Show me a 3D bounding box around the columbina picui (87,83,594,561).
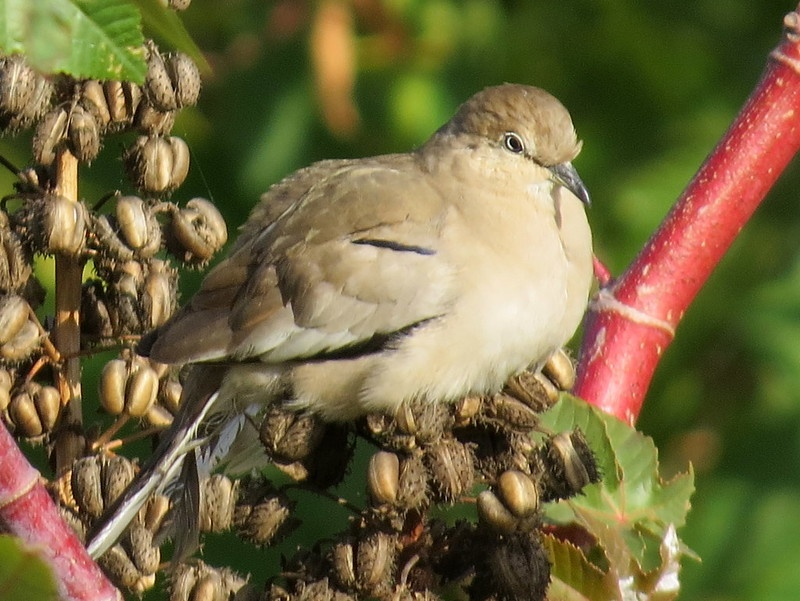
[{"bbox_3d":[-0.212,-0.025,6.916,1.898,2.035,1.262,-1,1,-4],"label":"columbina picui"}]
